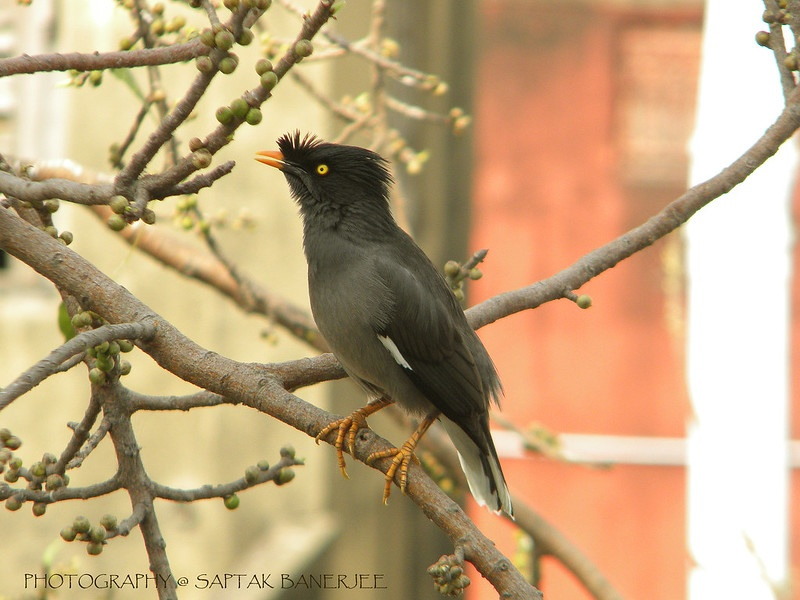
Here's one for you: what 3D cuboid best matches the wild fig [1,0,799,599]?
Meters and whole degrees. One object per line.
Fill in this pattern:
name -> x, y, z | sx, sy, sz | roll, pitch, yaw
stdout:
wild fig -> -0.035, -0.283, 7.494 | 3.840, 2.190, 3.761 | -8, -24, 30
